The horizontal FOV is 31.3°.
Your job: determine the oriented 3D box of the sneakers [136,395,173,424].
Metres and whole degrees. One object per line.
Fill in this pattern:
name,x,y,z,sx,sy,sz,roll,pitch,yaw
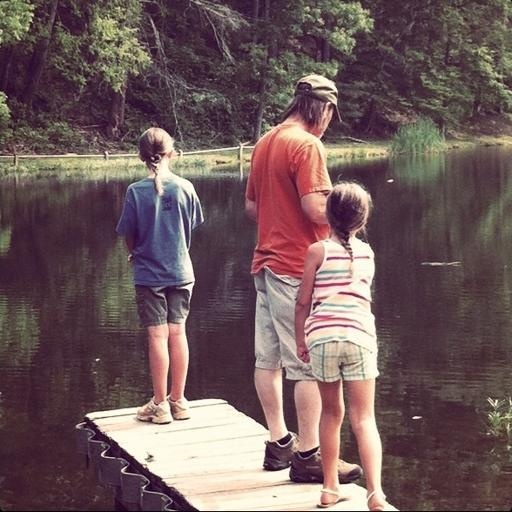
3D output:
sneakers,-0.542,0.832,4.929,0.208,0.117,0.089,3,3,35

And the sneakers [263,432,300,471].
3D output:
sneakers,0.114,0.936,4.307,0.080,0.116,0.224,3,2,28

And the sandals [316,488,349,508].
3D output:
sandals,0.318,1.034,3.903,0.129,0.064,0.062,-14,15,-41

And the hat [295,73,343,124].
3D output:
hat,0.312,-0.765,4.381,0.221,0.122,0.143,28,19,-27

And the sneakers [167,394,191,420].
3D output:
sneakers,-0.433,0.833,4.977,0.060,0.090,0.180,-3,4,-15

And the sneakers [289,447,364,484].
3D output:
sneakers,0.337,0.972,4.246,0.361,0.208,0.139,-1,2,-8

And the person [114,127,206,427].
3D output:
person,-0.539,0.096,4.968,0.416,1.542,0.548,-2,12,13

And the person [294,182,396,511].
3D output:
person,0.347,0.389,3.897,0.354,1.329,0.501,-4,12,2
